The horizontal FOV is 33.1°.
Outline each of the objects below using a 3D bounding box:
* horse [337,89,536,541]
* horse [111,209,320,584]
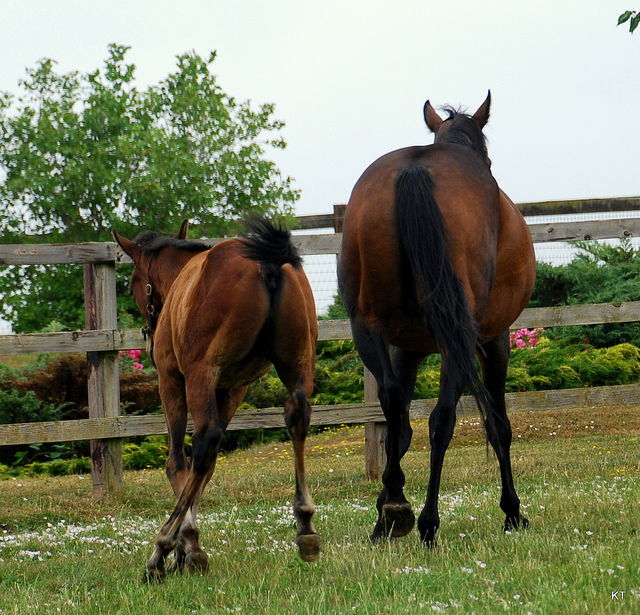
[{"bbox_3d":[1.016,0.090,8.884,1.555,3.773,1.469,-2,2,-16],"label":"horse"},{"bbox_3d":[-1.051,0.555,9.810,0.952,3.703,3.525,5,-15,-26],"label":"horse"}]
